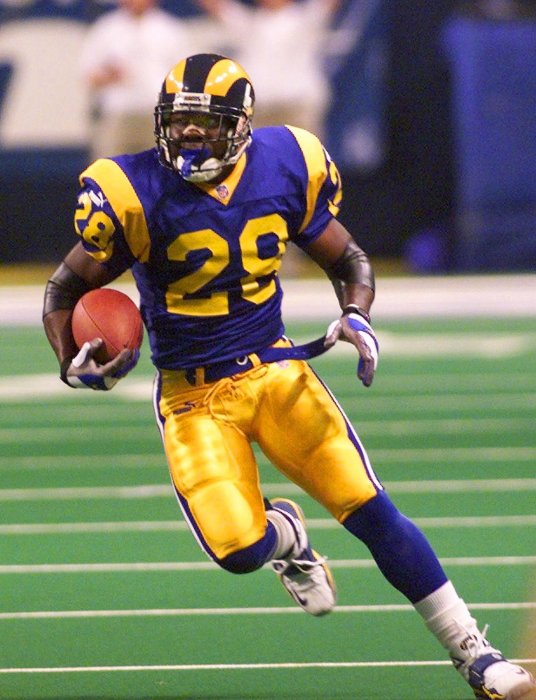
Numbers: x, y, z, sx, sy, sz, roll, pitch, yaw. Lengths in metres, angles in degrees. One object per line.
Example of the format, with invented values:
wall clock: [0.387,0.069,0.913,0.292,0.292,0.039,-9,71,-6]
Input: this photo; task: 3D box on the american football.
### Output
american football: [-0.347,-0.046,1.860,0.120,0.146,0.110,-26,29,44]

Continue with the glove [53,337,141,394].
glove: [-0.367,0.040,1.858,0.187,0.152,0.103,-3,35,6]
